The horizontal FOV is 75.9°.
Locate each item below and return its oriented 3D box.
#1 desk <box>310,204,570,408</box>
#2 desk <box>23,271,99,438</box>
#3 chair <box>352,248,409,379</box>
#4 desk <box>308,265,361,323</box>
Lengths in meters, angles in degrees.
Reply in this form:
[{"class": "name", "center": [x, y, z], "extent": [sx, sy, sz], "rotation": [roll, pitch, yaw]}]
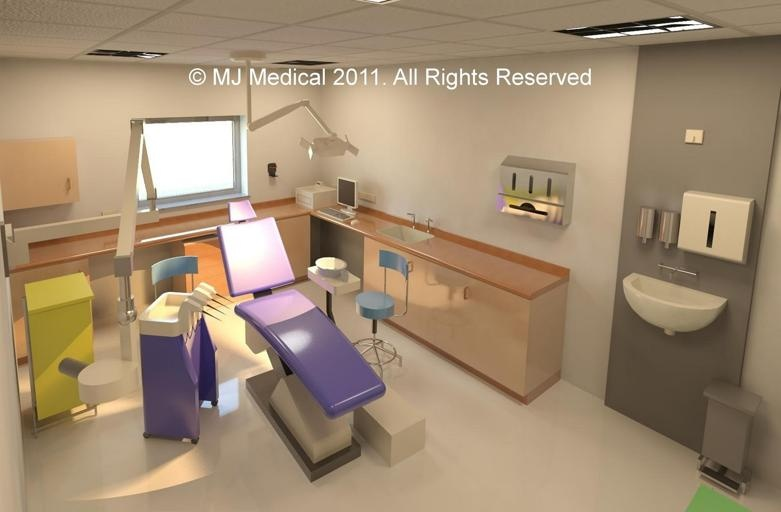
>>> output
[{"class": "desk", "center": [0.588, 0.454, 6.363], "extent": [0.869, 1.204, 3.312], "rotation": [-16, 25, -39]}, {"class": "desk", "center": [-3.148, 0.913, 4.792], "extent": [0.702, 1.299, 0.487], "rotation": [-16, 22, -39]}, {"class": "chair", "center": [-0.120, 0.673, 5.735], "extent": [0.665, 1.325, 0.605], "rotation": [8, 13, 18]}, {"class": "desk", "center": [-0.648, 0.459, 5.492], "extent": [0.337, 0.612, 0.622], "rotation": [-10, 22, -39]}]
